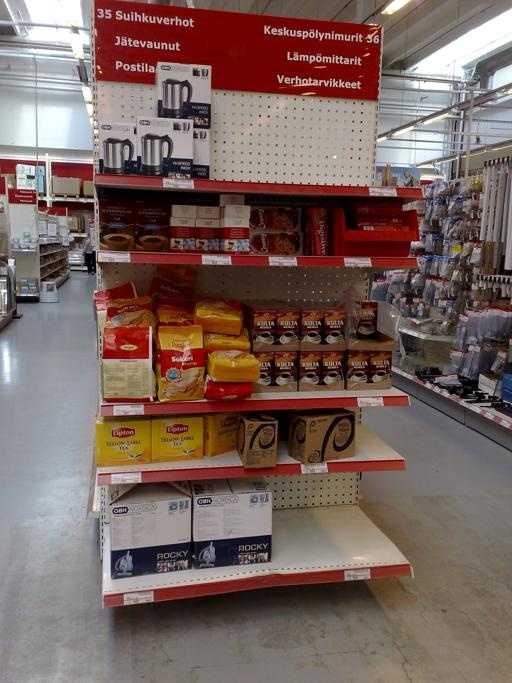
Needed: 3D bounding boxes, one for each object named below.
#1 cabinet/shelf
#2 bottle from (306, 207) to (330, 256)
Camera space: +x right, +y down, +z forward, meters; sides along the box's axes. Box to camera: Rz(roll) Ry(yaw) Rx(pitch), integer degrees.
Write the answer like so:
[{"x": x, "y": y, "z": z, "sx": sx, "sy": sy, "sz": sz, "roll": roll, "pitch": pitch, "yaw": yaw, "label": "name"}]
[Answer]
[{"x": -0.025, "y": 0.204, "z": 2.742, "sx": 1.298, "sy": 1.853, "sz": 1.690, "roll": 0, "pitch": 5, "yaw": -7, "label": "cabinet/shelf"}, {"x": 0.269, "y": -0.510, "z": 2.271, "sx": 0.094, "sy": 0.274, "sz": 0.165, "roll": 3, "pitch": 54, "yaw": 10, "label": "bottle"}]
